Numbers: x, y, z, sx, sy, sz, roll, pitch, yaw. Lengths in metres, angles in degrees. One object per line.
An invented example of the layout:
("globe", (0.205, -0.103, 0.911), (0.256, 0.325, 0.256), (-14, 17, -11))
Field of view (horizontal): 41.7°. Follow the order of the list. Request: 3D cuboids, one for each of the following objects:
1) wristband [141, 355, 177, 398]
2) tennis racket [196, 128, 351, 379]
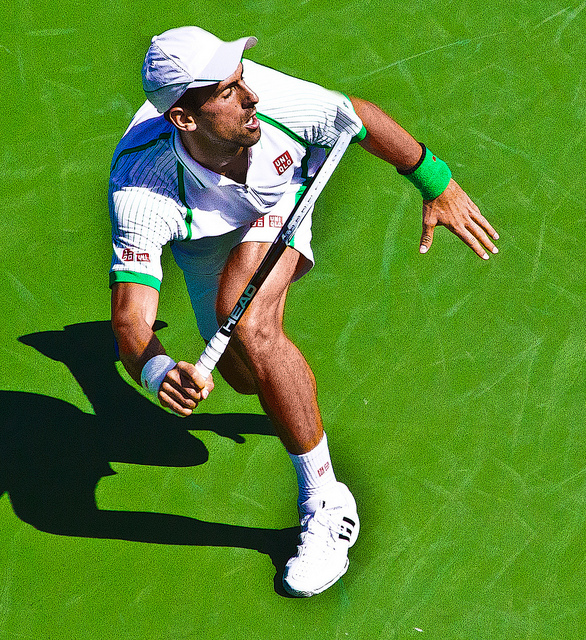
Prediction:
("wristband", (-0.449, 0.175, 2.548), (0.113, 0.131, 0.117), (1, 8, -27))
("tennis racket", (-0.091, -0.232, 2.944), (0.148, 1.121, 0.111), (26, 9, -11))
